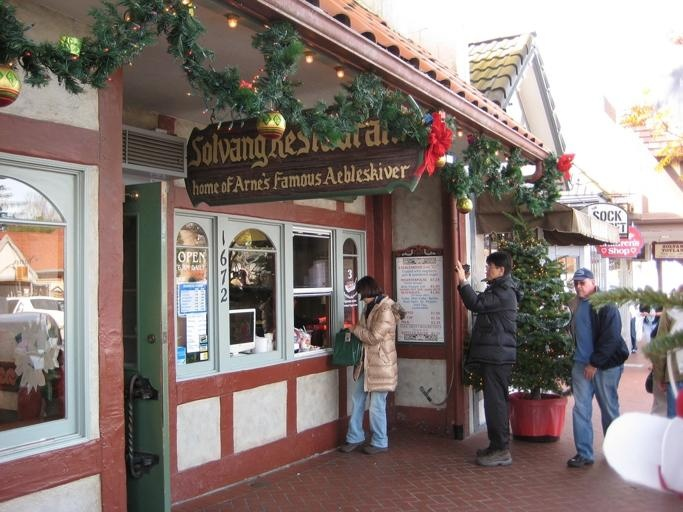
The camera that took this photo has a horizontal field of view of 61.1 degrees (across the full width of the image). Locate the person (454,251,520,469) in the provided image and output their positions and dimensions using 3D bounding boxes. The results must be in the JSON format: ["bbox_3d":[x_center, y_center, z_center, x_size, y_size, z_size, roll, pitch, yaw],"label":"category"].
[{"bbox_3d":[1.856,1.281,7.340,0.689,2.635,0.345,-1,-2,11],"label":"person"}]

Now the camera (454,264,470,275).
[{"bbox_3d":[1.603,0.166,7.631,0.187,0.142,0.193,-4,-8,33],"label":"camera"}]

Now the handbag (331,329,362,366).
[{"bbox_3d":[0.077,1.263,7.938,0.493,0.599,0.209,-3,-10,39],"label":"handbag"}]

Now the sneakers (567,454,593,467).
[{"bbox_3d":[2.930,2.501,7.127,0.338,0.145,0.128,4,-9,-21],"label":"sneakers"}]

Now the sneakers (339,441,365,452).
[{"bbox_3d":[0.119,2.602,7.990,0.394,0.200,0.132,8,-10,-43],"label":"sneakers"}]

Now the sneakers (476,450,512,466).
[{"bbox_3d":[1.893,2.489,7.273,0.428,0.230,0.184,3,0,1],"label":"sneakers"}]

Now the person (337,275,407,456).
[{"bbox_3d":[0.370,1.492,8.036,0.822,2.408,0.862,0,-2,-17],"label":"person"}]

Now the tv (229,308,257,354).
[{"bbox_3d":[-1.225,0.919,7.054,0.168,0.550,0.526,-4,-6,28],"label":"tv"}]

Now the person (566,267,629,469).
[{"bbox_3d":[3.035,1.348,6.980,0.639,2.397,0.703,2,-3,-42],"label":"person"}]

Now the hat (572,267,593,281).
[{"bbox_3d":[2.997,0.240,7.149,0.218,0.132,0.149,21,-19,-35],"label":"hat"}]
